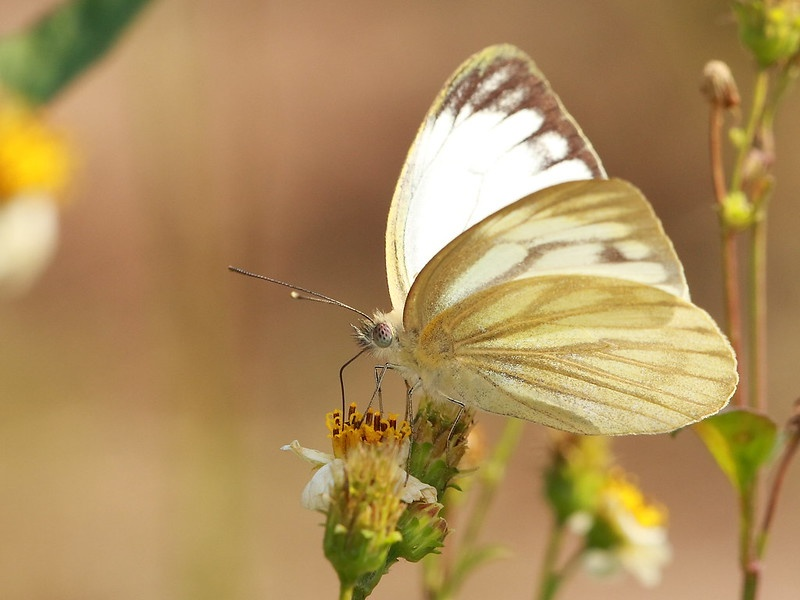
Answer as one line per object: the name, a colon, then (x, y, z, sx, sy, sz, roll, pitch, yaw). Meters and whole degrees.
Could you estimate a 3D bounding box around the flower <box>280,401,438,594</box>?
flower: (-0.061, 0.343, 1.775, 0.304, 0.220, 0.332, 9, -14, 8)

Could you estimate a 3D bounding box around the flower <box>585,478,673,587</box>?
flower: (0.501, 0.565, 2.175, 0.211, 0.228, 0.107, 30, -50, -6)
